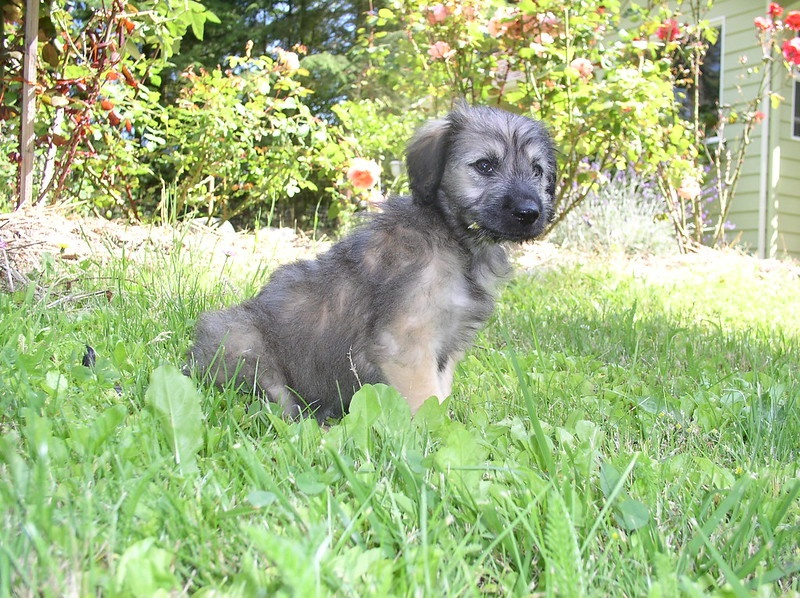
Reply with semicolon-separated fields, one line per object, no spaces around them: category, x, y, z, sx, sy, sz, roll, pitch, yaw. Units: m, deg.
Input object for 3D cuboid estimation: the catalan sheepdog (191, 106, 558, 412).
catalan sheepdog;-0.136;-0.010;3.390;1.681;1.442;0.817;-7;-10;27
